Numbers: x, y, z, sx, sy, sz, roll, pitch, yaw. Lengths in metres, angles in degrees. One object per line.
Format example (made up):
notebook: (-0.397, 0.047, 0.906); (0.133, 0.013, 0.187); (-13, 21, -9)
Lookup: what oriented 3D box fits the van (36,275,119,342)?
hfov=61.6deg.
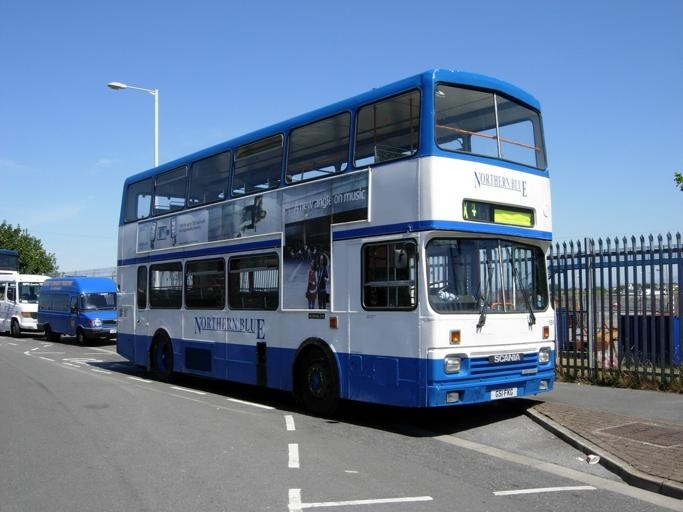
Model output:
van: (-12.753, 2.548, 28.909); (3.162, 3.277, 5.801); (2, -6, -39)

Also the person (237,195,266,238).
person: (-1.923, -0.879, 12.402); (0.357, 0.451, 1.105); (6, -18, -23)
